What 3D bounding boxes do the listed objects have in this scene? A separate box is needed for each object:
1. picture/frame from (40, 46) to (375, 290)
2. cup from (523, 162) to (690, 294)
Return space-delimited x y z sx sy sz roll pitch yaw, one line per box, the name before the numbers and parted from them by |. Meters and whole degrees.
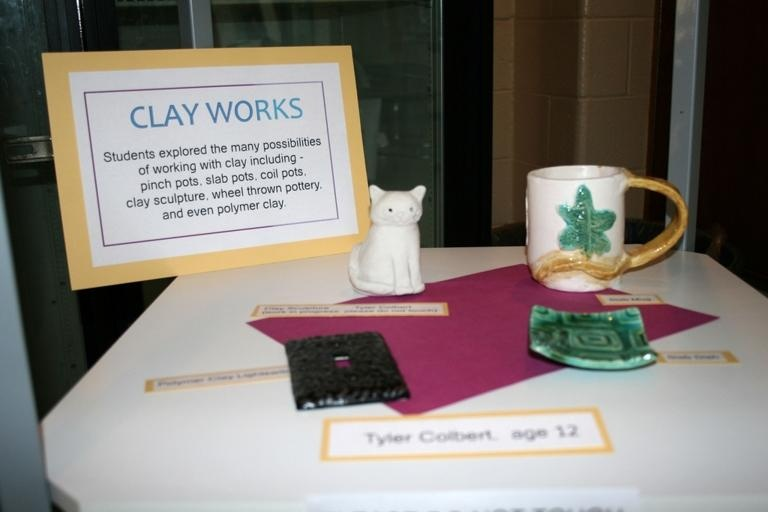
picture/frame | -0.301 -0.146 0.988 0.396 0.287 0.005 -8 2 -21
cup | 0.292 -0.056 0.890 0.256 0.212 0.153 3 12 16
